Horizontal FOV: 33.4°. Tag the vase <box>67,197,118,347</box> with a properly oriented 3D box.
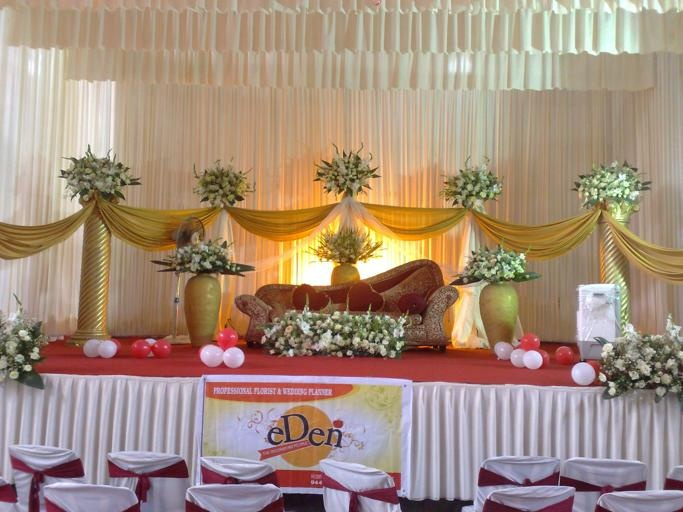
[{"bbox_3d":[-3.013,0.170,13.715,0.445,1.793,0.395,1,-5,-12],"label":"vase"}]

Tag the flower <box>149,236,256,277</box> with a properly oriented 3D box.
[{"bbox_3d":[-1.761,0.041,14.103,0.672,0.297,0.764,5,1,31],"label":"flower"}]

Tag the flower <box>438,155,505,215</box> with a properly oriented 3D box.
[{"bbox_3d":[1.792,-0.936,15.067,0.748,0.665,0.737,-1,3,-44],"label":"flower"}]

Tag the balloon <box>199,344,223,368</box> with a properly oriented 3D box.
[{"bbox_3d":[-1.345,1.054,11.992,0.240,0.248,0.276,1,-5,-6],"label":"balloon"}]

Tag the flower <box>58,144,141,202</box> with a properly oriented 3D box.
[{"bbox_3d":[-2.970,-0.941,14.248,0.893,0.572,0.907,4,-5,0],"label":"flower"}]

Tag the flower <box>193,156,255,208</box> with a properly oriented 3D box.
[{"bbox_3d":[-1.577,-0.940,15.258,0.666,0.543,0.744,2,-6,-14],"label":"flower"}]

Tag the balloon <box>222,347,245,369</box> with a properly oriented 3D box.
[{"bbox_3d":[-1.119,1.076,11.997,0.214,0.208,0.217,8,-37,-1],"label":"balloon"}]

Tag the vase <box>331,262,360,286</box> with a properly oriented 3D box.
[{"bbox_3d":[0.076,0.237,14.875,0.293,0.279,0.295,1,3,7],"label":"vase"}]

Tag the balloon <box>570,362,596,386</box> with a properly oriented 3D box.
[{"bbox_3d":[2.460,1.167,11.372,0.218,0.260,0.221,-3,33,33],"label":"balloon"}]

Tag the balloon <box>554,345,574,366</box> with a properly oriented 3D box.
[{"bbox_3d":[2.490,1.080,12.454,0.212,0.220,0.249,1,-33,12],"label":"balloon"}]

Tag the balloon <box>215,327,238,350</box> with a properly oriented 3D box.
[{"bbox_3d":[-1.203,0.888,12.372,0.212,0.310,0.210,14,31,15],"label":"balloon"}]
